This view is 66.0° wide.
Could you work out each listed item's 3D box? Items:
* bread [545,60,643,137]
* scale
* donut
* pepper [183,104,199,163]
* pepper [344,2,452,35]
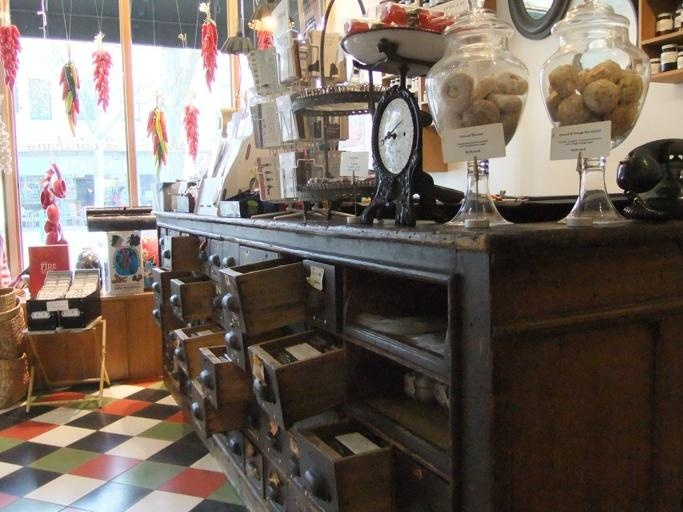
[{"bbox_3d":[0.661,-0.399,1.364,0.240,0.200,0.115,2,9,15],"label":"bread"},{"bbox_3d":[0.187,-0.405,1.627,0.223,0.671,0.291,-3,12,-27],"label":"scale"},{"bbox_3d":[0.372,-0.400,1.422,0.248,0.184,0.120,2,9,20],"label":"donut"},{"bbox_3d":[-1.440,-1.179,5.057,0.131,0.527,0.184,-4,9,-21],"label":"pepper"},{"bbox_3d":[0.186,-0.744,1.659,0.350,0.097,0.116,-2,9,-4],"label":"pepper"}]
